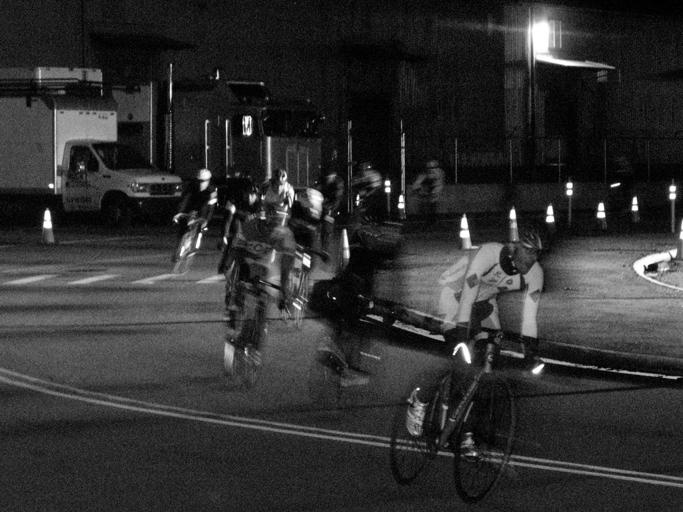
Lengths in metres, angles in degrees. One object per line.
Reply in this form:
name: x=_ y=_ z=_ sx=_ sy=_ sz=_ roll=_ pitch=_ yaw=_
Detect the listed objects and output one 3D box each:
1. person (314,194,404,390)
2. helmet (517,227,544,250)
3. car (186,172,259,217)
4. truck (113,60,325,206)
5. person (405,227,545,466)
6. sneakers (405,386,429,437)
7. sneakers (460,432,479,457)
person: x=0.097 y=0.324 z=9.247 sx=0.902 sy=1.359 sz=2.128 roll=5 pitch=-8 yaw=4
helmet: x=1.278 y=-0.132 z=5.964 sx=0.135 sy=0.147 sz=0.339 roll=1 pitch=8 yaw=0
car: x=-3.380 y=-1.961 z=26.788 sx=2.159 sy=1.232 sz=3.067 roll=2 pitch=5 yaw=8
truck: x=-4.036 y=-4.072 z=30.212 sx=6.345 sy=4.322 sz=3.763 roll=3 pitch=5 yaw=30
person: x=0.952 y=0.505 z=6.090 sx=0.911 sy=1.431 sz=1.030 roll=2 pitch=7 yaw=10
sneakers: x=0.509 y=1.024 z=5.896 sx=0.173 sy=0.289 sz=0.266 roll=2 pitch=6 yaw=4
sneakers: x=0.816 y=1.212 z=5.609 sx=0.063 sy=0.171 sz=0.183 roll=6 pitch=8 yaw=39
